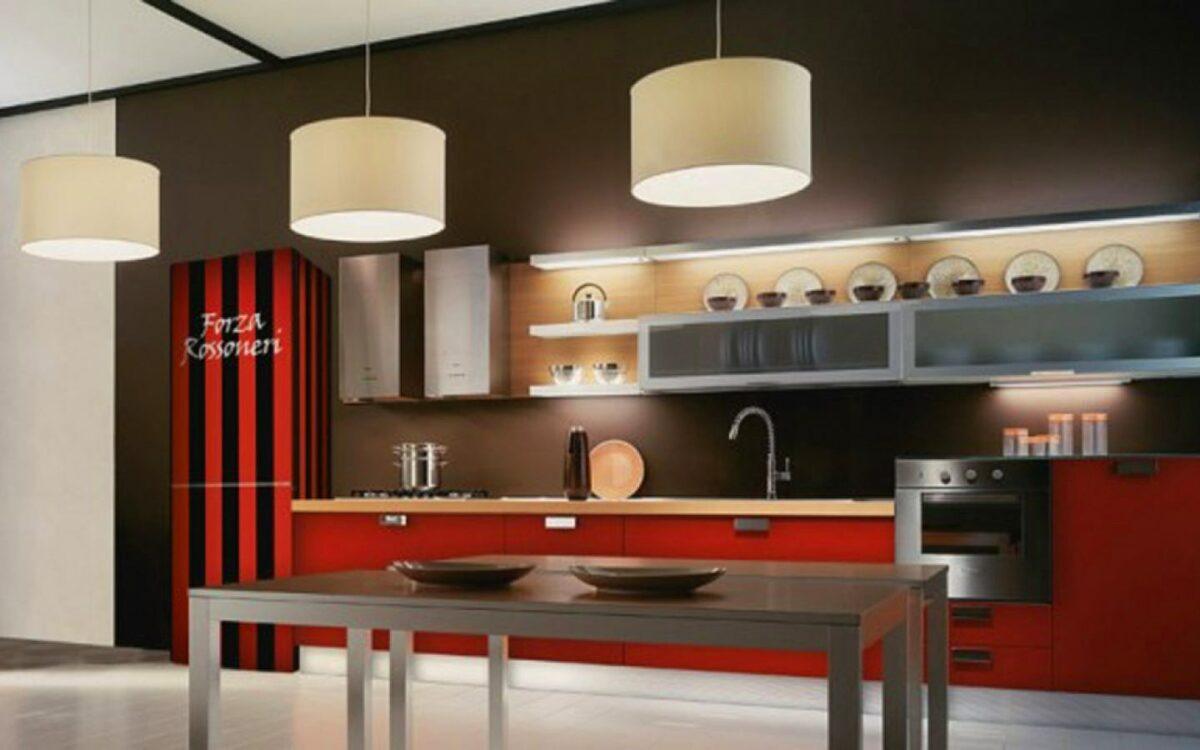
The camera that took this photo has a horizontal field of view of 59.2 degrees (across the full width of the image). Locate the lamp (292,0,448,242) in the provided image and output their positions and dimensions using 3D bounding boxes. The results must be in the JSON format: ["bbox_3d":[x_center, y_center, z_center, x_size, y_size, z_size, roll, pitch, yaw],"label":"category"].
[{"bbox_3d":[-1.140,-1.001,5.215,0.707,1.508,0.679,4,-7,-40],"label":"lamp"}]

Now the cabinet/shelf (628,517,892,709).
[{"bbox_3d":[0.866,1.348,6.641,1.543,0.733,0.831,12,10,-5],"label":"cabinet/shelf"}]

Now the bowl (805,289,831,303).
[{"bbox_3d":[1.376,-0.493,6.717,0.117,0.048,0.111,-1,-3,0],"label":"bowl"}]

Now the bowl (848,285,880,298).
[{"bbox_3d":[1.677,-0.518,6.693,0.197,0.098,0.135,2,10,12],"label":"bowl"}]

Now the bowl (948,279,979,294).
[{"bbox_3d":[2.234,-0.539,6.501,0.178,0.099,0.145,2,10,11],"label":"bowl"}]

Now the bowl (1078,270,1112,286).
[{"bbox_3d":[2.956,-0.573,6.335,0.172,0.103,0.087,8,13,41],"label":"bowl"}]

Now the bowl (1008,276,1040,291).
[{"bbox_3d":[2.559,-0.556,6.448,0.212,0.096,0.194,0,9,0],"label":"bowl"}]

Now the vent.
[{"bbox_3d":[-1.557,-0.398,7.625,0.716,0.973,1.325,8,10,37],"label":"vent"}]

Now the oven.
[{"bbox_3d":[2.420,0.938,6.398,0.738,0.856,1.005,12,-14,-37],"label":"oven"}]

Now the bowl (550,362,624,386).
[{"bbox_3d":[-0.110,-0.007,7.230,0.450,0.124,0.185,1,-4,7],"label":"bowl"}]

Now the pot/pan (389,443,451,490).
[{"bbox_3d":[-1.251,0.640,7.521,0.433,0.293,0.280,-1,-4,12],"label":"pot/pan"}]

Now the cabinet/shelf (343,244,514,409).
[{"bbox_3d":[-1.155,-0.341,7.773,1.374,0.990,0.723,0,-2,26],"label":"cabinet/shelf"}]

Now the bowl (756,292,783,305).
[{"bbox_3d":[1.087,-0.485,6.799,0.113,0.049,0.104,1,1,0],"label":"bowl"}]

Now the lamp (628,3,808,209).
[{"bbox_3d":[0.524,-1.144,4.692,0.814,0.767,0.741,-1,1,1],"label":"lamp"}]
